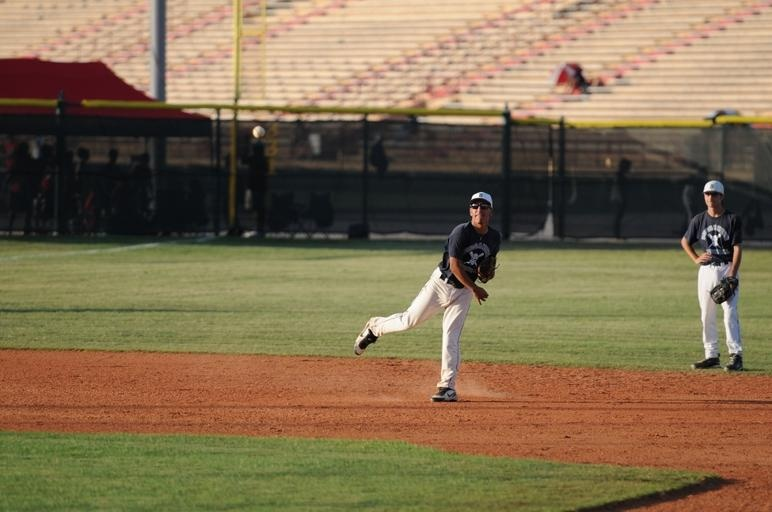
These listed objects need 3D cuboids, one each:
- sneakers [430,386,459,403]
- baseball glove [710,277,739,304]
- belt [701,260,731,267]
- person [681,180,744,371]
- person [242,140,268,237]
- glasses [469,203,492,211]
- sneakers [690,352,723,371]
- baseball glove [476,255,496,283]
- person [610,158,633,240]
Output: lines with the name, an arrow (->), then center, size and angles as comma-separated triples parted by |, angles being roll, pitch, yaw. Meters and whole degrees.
sneakers -> 1.181, 2.639, 38.196 | 0.563, 0.272, 0.221 | 0, 0, -9
baseball glove -> 6.690, 0.651, 39.001 | 0.380, 0.560, 0.223 | 44, -2, 3
belt -> 6.565, 0.148, 39.187 | 0.506, 0.104, 0.105 | 2, -1, 2
person -> 6.608, 0.379, 39.453 | 1.146, 3.718, 0.898 | 2, -2, 9
person -> -3.018, -1.638, 47.560 | 0.512, 2.333, 0.519 | 2, -2, -5
glasses -> 1.867, -0.941, 37.898 | 0.379, 0.108, 0.136 | 2, -1, -11
sneakers -> 6.408, 2.091, 39.407 | 0.647, 0.274, 0.230 | 2, 2, 4
baseball glove -> 1.942, 0.226, 38.182 | 0.348, 0.477, 0.235 | 1, 44, -45
person -> 5.697, -1.423, 47.925 | 0.301, 1.920, 0.752 | 1, -2, 21
